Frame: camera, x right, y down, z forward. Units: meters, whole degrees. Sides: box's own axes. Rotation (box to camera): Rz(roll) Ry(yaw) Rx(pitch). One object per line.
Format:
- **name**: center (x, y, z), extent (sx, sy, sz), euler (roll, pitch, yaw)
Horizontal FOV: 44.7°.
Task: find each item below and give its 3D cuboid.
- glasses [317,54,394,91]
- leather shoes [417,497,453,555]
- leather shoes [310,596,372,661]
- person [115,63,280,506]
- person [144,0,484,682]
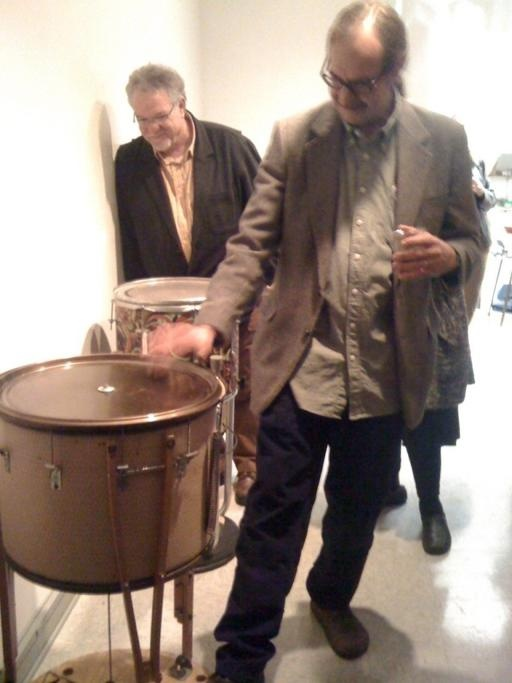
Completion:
- **glasses**: center (0.158, -0.429, 1.002), extent (0.116, 0.056, 0.060), euler (4, 12, 16)
- **leather shoes**: center (0.575, 0.612, 1.999), extent (0.083, 0.091, 0.247), euler (-4, 25, 11)
- **leather shoes**: center (0.203, 0.707, 1.527), extent (0.095, 0.094, 0.213), euler (-5, 17, -18)
- **person**: center (-0.218, -0.013, 2.463), extent (0.586, 2.068, 0.575), euler (-4, 23, -8)
- **person**: center (0.107, 0.109, 1.211), extent (0.552, 1.376, 0.383), euler (-1, 11, -10)
